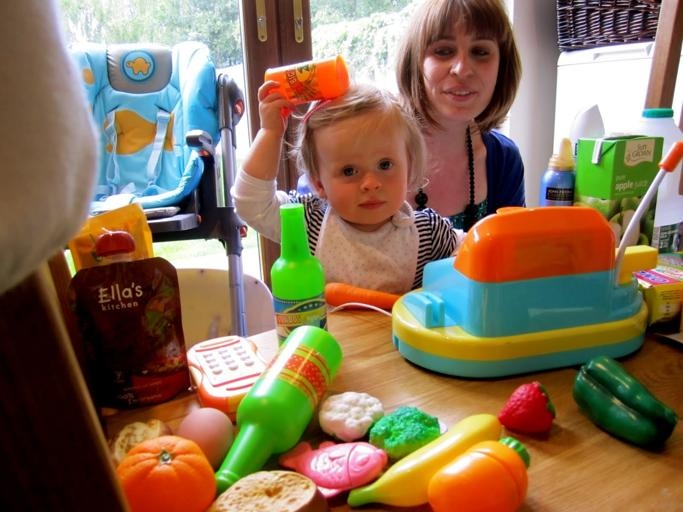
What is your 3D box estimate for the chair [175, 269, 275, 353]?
[{"bbox_3d":[-0.412,0.183,1.859,0.286,0.391,0.312,-1,-7,-22],"label":"chair"}]
